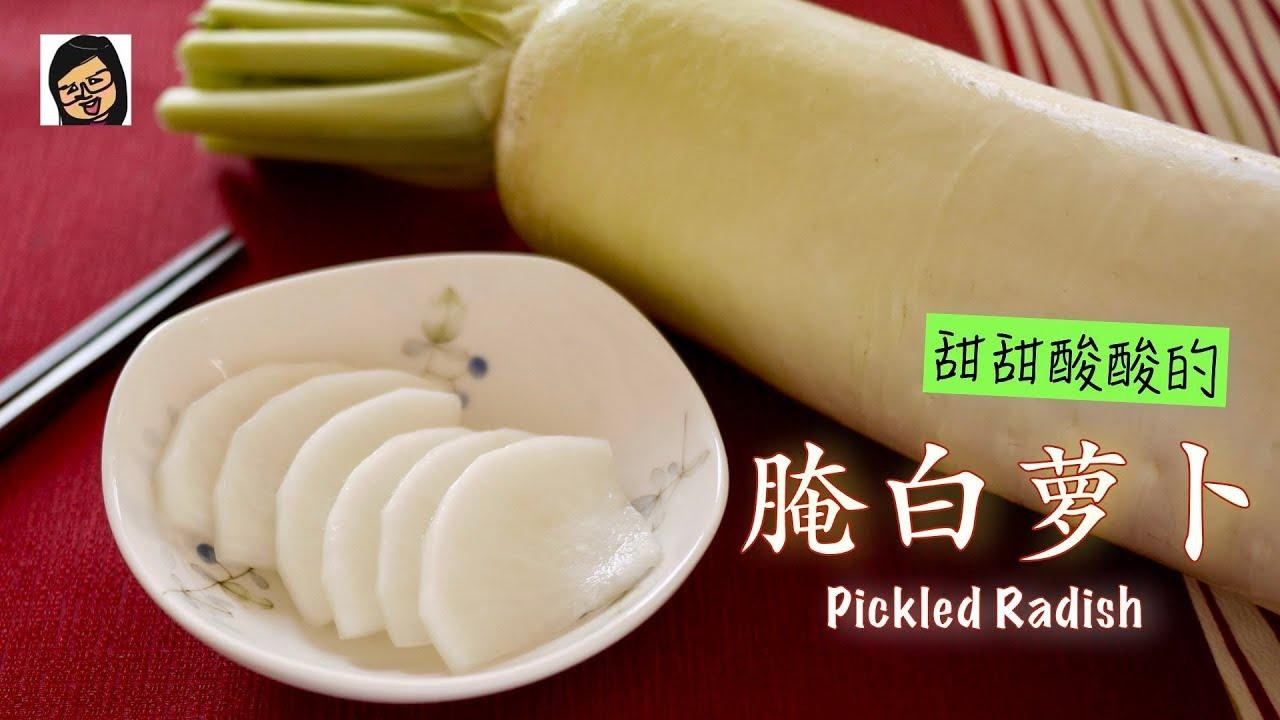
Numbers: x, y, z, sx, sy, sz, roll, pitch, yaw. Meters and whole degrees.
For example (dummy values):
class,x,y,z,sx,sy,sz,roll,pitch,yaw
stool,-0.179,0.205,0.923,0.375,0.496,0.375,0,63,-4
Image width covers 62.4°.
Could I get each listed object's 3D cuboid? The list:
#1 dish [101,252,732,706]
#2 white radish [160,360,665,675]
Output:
class,x,y,z,sx,sy,sz,roll,pitch,yaw
dish,-0.257,0.162,1.349,0.521,0.144,0.538,11,54,-5
white radish,-0.262,0.166,1.156,0.484,0.061,0.302,29,64,9
